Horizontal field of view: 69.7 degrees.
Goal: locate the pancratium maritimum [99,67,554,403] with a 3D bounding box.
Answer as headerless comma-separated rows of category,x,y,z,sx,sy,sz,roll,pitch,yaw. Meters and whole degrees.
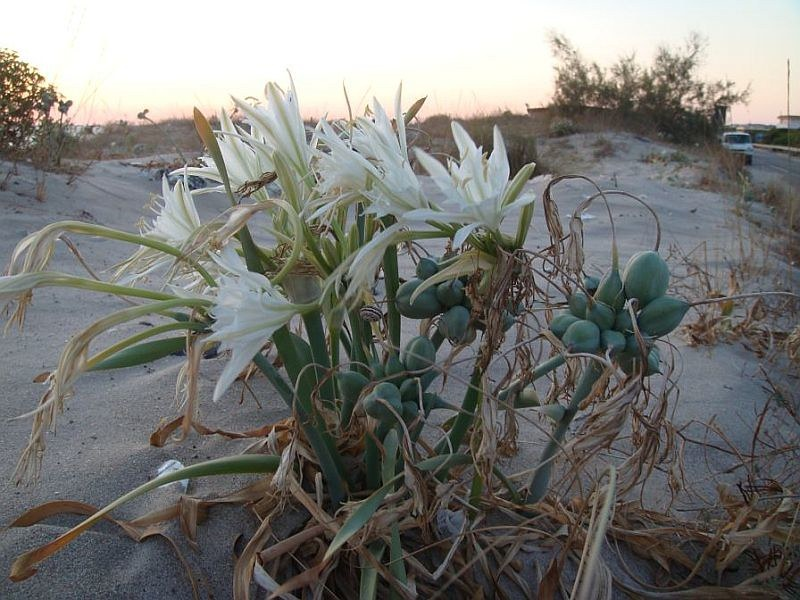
pancratium maritimum,-0.186,-0.186,1.313,0.745,0.757,0.738,-17,2,-34
